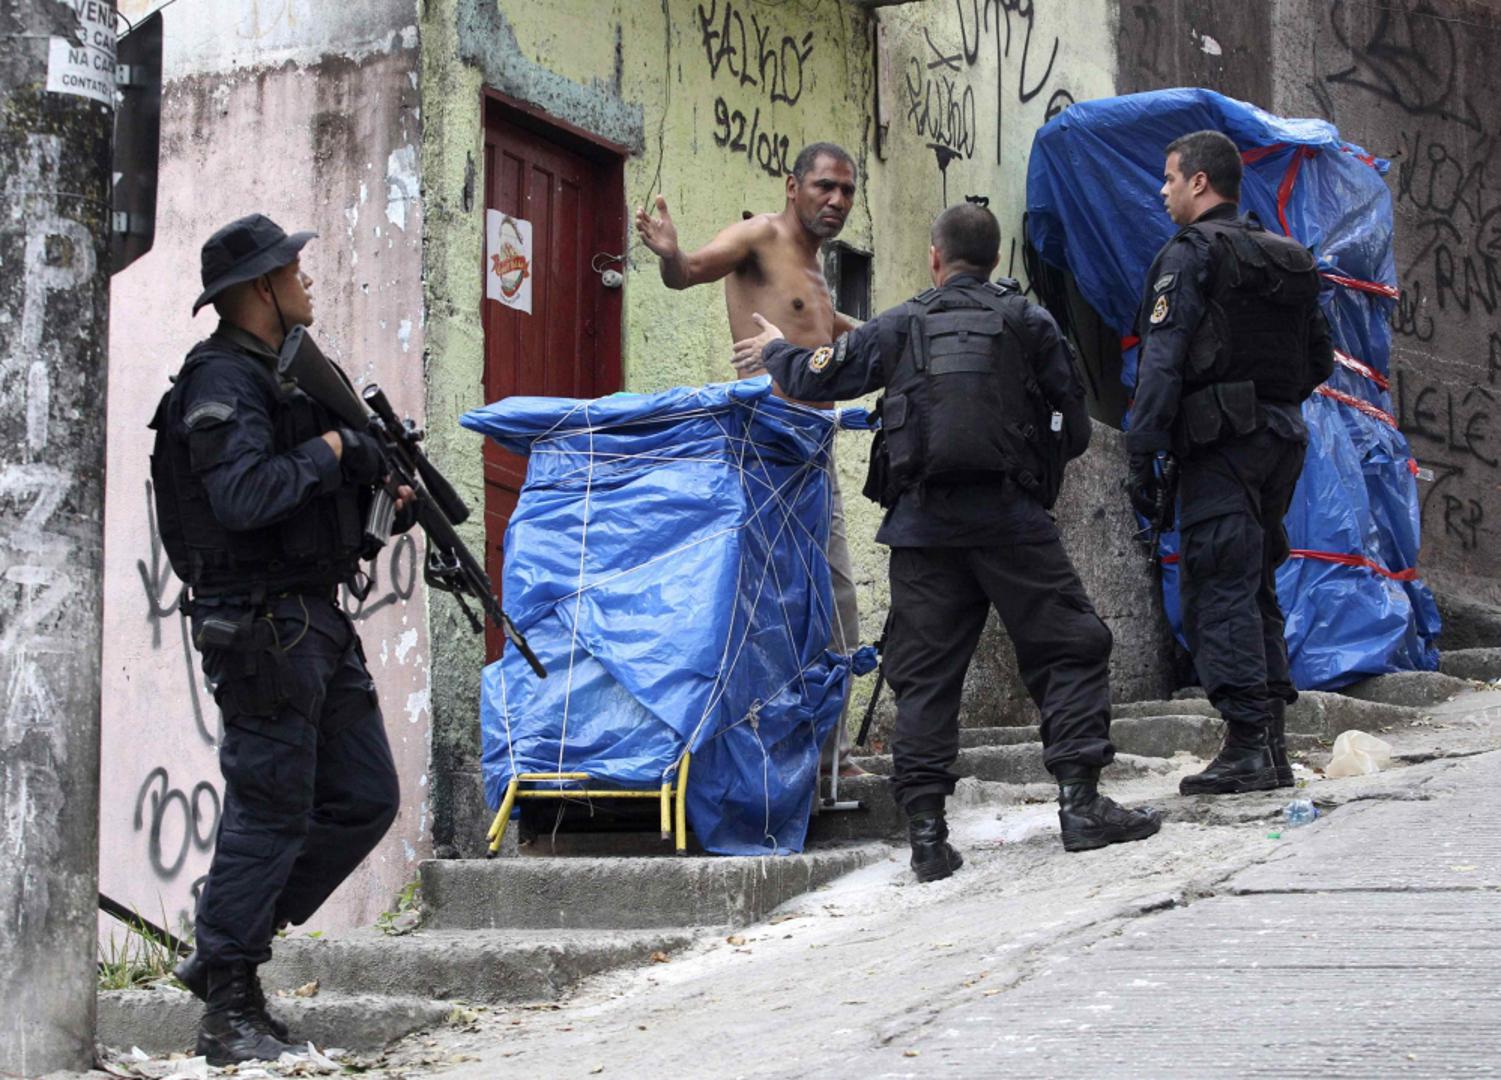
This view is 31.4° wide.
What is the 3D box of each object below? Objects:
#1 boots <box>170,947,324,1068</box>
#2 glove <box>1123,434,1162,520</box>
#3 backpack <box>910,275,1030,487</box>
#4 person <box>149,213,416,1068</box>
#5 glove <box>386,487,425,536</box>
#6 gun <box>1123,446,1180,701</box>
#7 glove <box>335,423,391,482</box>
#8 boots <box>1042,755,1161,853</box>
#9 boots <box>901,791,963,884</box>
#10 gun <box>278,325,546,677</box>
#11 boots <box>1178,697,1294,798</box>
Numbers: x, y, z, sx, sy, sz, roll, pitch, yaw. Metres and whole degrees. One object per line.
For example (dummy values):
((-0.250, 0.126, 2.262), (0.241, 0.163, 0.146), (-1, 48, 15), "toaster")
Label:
((-1.768, 1.717, 9.714), (0.600, 0.492, 0.252), (0, -3, -3), "boots")
((1.691, -0.258, 11.259), (0.204, 0.322, 0.108), (9, 5, 42), "glove")
((0.866, -0.558, 10.768), (0.473, 0.904, 0.494), (-1, -25, 1), "backpack")
((-1.759, 0.321, 9.869), (0.868, 3.097, 0.551), (-4, -4, -15), "person")
((-1.317, -0.107, 10.099), (0.065, 0.241, 0.055), (19, -11, -38), "glove")
((2.042, 0.152, 13.802), (0.228, 1.397, 0.464), (0, 4, 16), "gun")
((-1.430, -0.307, 9.855), (0.139, 0.208, 0.069), (-28, 6, -42), "glove")
((1.334, 1.059, 10.516), (0.498, 0.442, 0.210), (-5, -3, -2), "boots")
((0.728, 1.179, 10.825), (0.153, 0.355, 0.337), (-2, 10, 14), "boots")
((-1.407, -0.131, 10.900), (0.221, 1.743, 0.616), (-9, 36, 27), "gun")
((1.956, 0.886, 11.035), (0.412, 0.424, 0.182), (-7, -27, 22), "boots")
